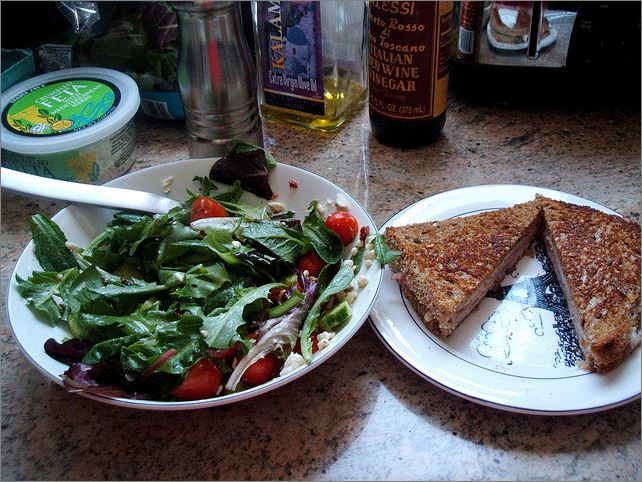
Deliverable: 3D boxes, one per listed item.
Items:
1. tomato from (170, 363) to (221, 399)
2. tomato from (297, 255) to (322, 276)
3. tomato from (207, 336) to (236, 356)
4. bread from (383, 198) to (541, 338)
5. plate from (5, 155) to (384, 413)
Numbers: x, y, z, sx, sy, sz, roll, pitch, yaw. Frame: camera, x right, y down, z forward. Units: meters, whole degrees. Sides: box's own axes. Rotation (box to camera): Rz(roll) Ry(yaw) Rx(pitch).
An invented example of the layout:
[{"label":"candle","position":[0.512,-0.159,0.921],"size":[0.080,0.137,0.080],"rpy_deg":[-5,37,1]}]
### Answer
[{"label":"tomato","position":[-0.189,0.219,0.770],"size":[0.073,0.052,0.034],"rpy_deg":[-26,44,-29]},{"label":"tomato","position":[-0.019,0.043,0.932],"size":[0.046,0.030,0.036],"rpy_deg":[20,42,25]},{"label":"tomato","position":[-0.157,0.166,0.804],"size":[0.035,0.022,0.035],"rpy_deg":[-35,50,-30]},{"label":"bread","position":[0.302,0.061,1.051],"size":[0.303,0.089,0.207],"rpy_deg":[-22,55,-18]},{"label":"plate","position":[-0.231,0.122,1.019],"size":[0.532,0.122,0.524],"rpy_deg":[9,41,2]}]
